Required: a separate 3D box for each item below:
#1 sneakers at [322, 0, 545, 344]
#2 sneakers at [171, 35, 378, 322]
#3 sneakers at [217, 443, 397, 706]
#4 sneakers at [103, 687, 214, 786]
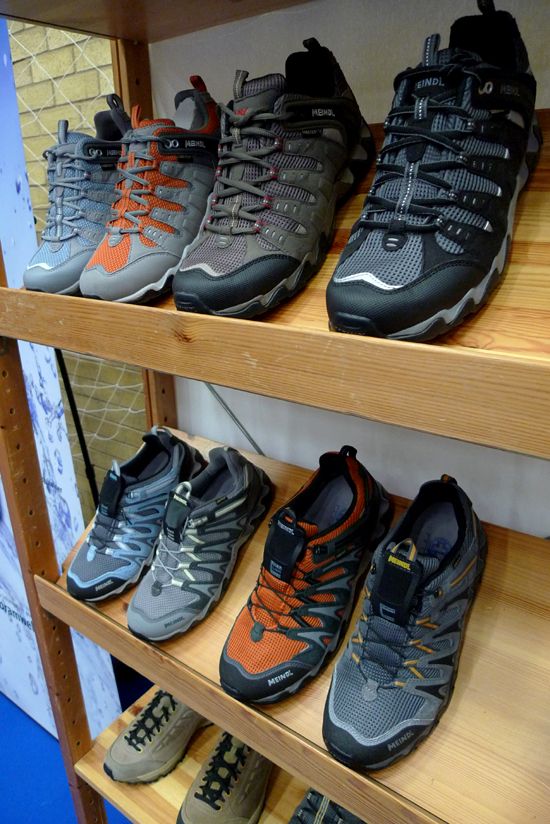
[{"bbox_3d":[0.122,-0.179,0.427,0.117,0.198,0.233,10,29,21],"label":"sneakers"},{"bbox_3d":[0.018,-0.242,0.578,0.125,0.160,0.355,15,64,25],"label":"sneakers"},{"bbox_3d":[0.045,0.157,0.735,0.127,0.164,0.365,21,68,28],"label":"sneakers"},{"bbox_3d":[-0.199,0.565,1.047,0.083,0.095,0.231,27,37,21],"label":"sneakers"}]
